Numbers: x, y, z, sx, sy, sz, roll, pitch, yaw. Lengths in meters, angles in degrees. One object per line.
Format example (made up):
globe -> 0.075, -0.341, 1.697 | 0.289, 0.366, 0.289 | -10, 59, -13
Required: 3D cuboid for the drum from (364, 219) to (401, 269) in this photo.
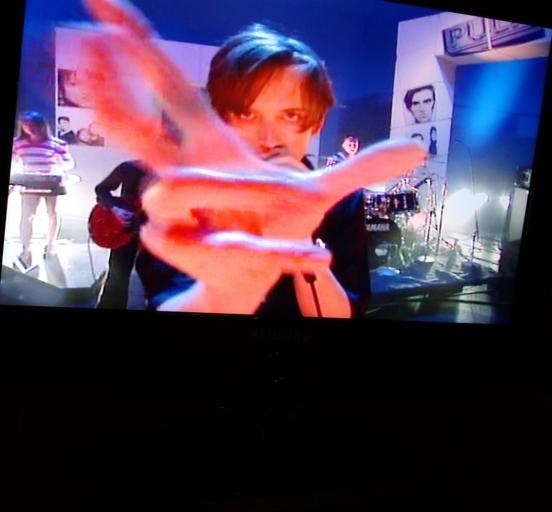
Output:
drum -> 0.397, -0.057, 2.053 | 0.174, 0.186, 0.138 | -3, 5, -2
